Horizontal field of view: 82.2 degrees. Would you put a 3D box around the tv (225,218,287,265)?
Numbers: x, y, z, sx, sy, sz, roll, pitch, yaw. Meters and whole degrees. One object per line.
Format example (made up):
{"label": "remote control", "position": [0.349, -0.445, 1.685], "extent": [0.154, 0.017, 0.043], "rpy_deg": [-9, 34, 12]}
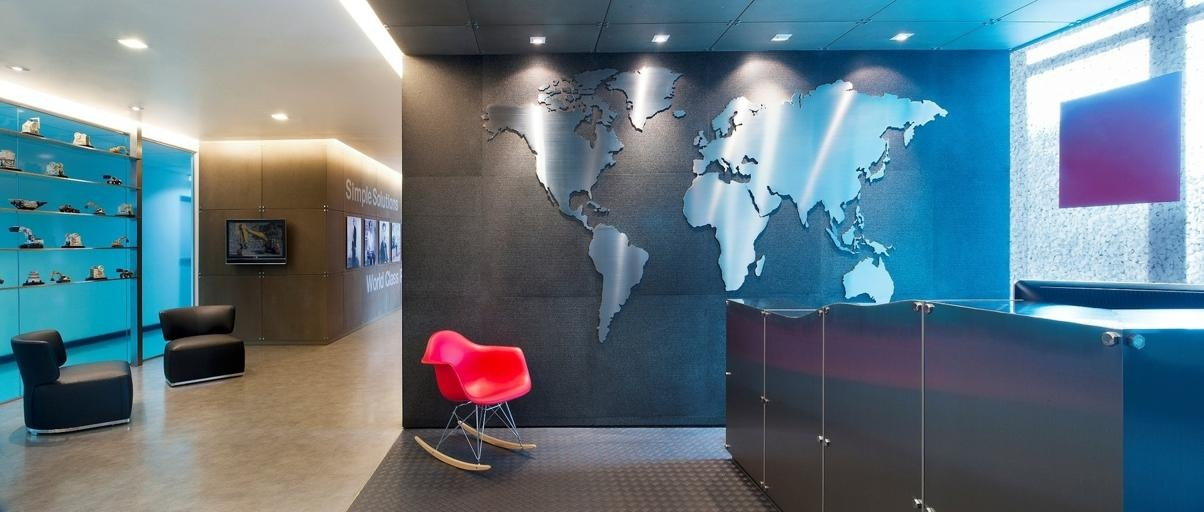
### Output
{"label": "tv", "position": [-8.005, -0.327, 16.013], "extent": [1.524, 0.871, 0.132], "rpy_deg": [0, 1, 0]}

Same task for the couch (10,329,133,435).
{"label": "couch", "position": [-9.978, 2.363, 13.544], "extent": [2.433, 1.702, 2.294], "rpy_deg": [-1, 2, -37]}

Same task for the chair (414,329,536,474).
{"label": "chair", "position": [-2.333, 2.594, 13.576], "extent": [2.953, 2.365, 2.736], "rpy_deg": [-2, -2, 33]}
